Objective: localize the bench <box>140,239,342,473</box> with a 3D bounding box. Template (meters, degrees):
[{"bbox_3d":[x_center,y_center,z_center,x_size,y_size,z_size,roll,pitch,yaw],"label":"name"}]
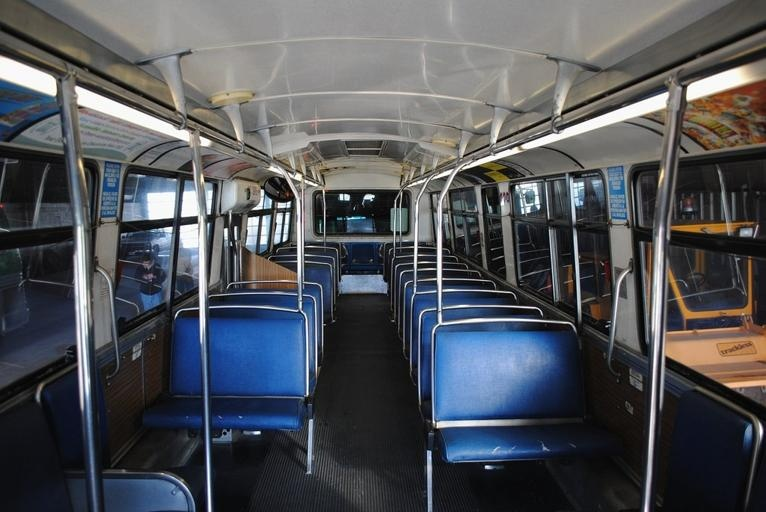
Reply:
[{"bbox_3d":[-1.346,1.084,5.099,1.351,1.778,1.876,0,-5,-1],"label":"bench"}]

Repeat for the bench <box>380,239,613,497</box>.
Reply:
[{"bbox_3d":[1.141,0.976,4.328,1.552,2.123,1.533,-1,10,0],"label":"bench"}]
